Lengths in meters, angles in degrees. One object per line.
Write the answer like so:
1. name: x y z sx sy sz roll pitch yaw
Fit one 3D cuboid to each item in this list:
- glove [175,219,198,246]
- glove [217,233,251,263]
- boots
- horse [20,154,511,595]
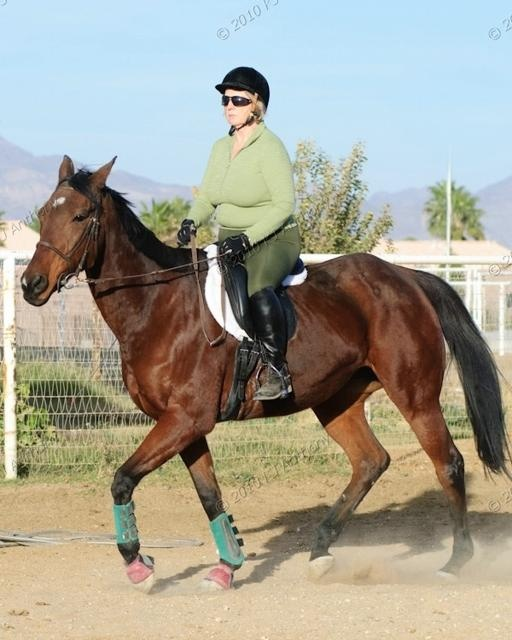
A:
1. glove: -0.426 -0.546 5.540 0.061 0.152 0.120 19 -29 23
2. glove: -0.094 -0.419 5.278 0.217 0.085 0.146 -18 25 -11
3. boots: 0.093 0.134 5.252 0.245 0.656 0.176 -1 1 -17
4. horse: 0.132 0.366 5.614 3.152 2.576 0.914 -1 1 -16
